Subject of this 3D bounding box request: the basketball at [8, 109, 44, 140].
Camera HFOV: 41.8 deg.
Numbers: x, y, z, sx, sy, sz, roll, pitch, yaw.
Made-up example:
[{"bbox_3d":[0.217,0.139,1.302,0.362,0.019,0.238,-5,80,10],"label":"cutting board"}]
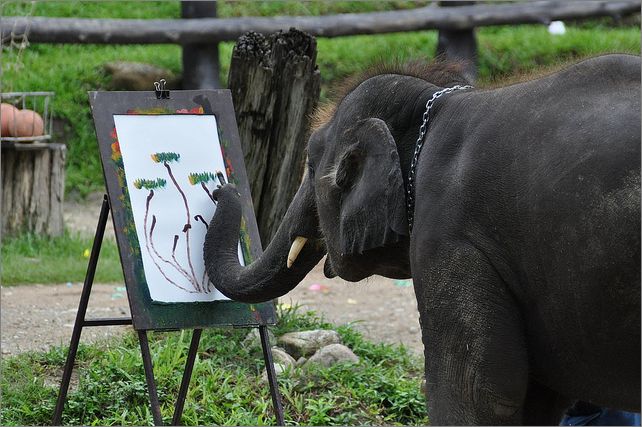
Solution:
[{"bbox_3d":[-2.522,-0.757,7.288,0.276,0.252,0.246,12,42,-20],"label":"basketball"}]
